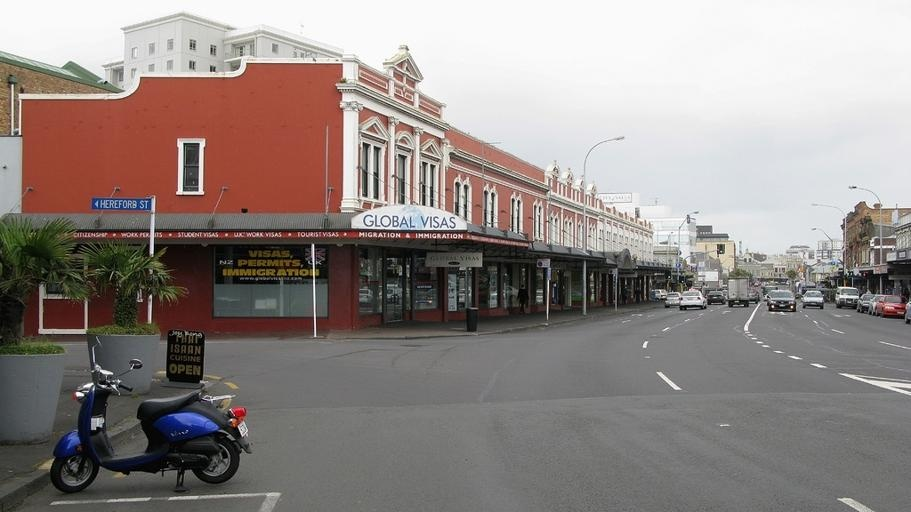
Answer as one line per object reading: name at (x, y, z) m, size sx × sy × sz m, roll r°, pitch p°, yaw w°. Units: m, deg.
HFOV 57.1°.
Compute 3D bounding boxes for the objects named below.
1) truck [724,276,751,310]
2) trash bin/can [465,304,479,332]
truck at (27.583, 3.338, 81.678) m, size 1.762 × 1.822 × 3.297 m, roll 1°, pitch 3°, yaw 14°
trash bin/can at (0.813, 3.080, 41.084) m, size 0.567 × 1.194 × 1.252 m, roll -2°, pitch -5°, yaw -2°
